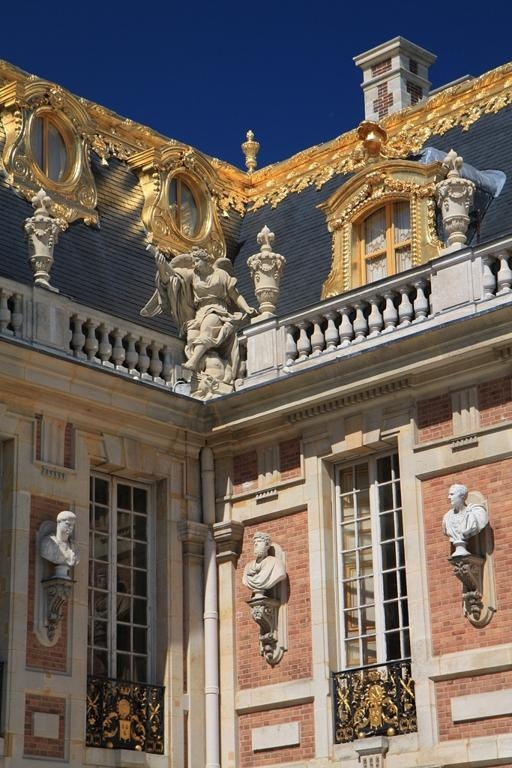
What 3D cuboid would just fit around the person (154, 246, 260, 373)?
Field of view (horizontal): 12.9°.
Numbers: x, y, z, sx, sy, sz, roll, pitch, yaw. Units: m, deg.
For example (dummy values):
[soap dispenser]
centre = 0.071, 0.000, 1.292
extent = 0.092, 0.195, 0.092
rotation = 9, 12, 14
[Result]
[person]
centre = -0.501, -0.635, 23.546
extent = 0.969, 1.657, 0.685
rotation = -1, -29, -11
